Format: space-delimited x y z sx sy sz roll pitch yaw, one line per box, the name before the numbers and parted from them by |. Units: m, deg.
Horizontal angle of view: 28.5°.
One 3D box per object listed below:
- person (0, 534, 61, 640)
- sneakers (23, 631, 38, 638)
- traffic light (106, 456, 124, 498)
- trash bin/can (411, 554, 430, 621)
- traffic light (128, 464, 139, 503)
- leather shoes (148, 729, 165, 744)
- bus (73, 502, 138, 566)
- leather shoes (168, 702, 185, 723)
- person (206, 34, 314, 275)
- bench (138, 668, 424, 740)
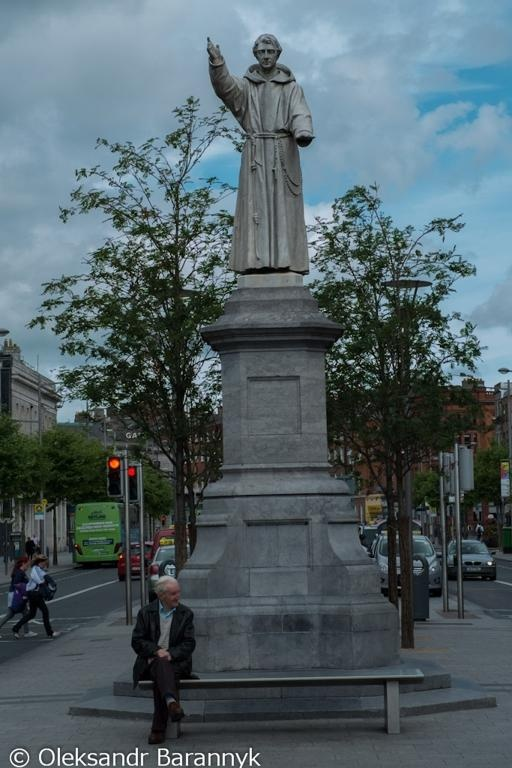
person | -4.509 4.272 20.082 1.003 1.612 1.504 -1 -5 -14
sneakers | -4.547 5.079 20.349 0.284 0.110 0.107 -3 -3 25
traffic light | -2.885 1.908 20.696 0.269 0.850 0.834 -1 -5 -10
trash bin/can | 3.283 4.171 20.271 0.315 1.199 0.687 -3 -5 7
traffic light | -2.618 2.120 21.504 0.193 0.762 0.584 -2 -5 -6
leather shoes | -0.710 2.530 7.170 0.096 0.089 0.164 -3 -5 8
bus | -9.063 9.038 60.913 2.369 2.605 6.167 -1 -2 3
leather shoes | -0.556 2.304 7.034 0.079 0.086 0.201 0 -24 -8
person | 0.077 -2.484 10.741 1.002 2.666 0.690 -2 -5 1
bench | 0.144 2.440 8.095 1.959 0.478 2.024 -1 -5 -13
